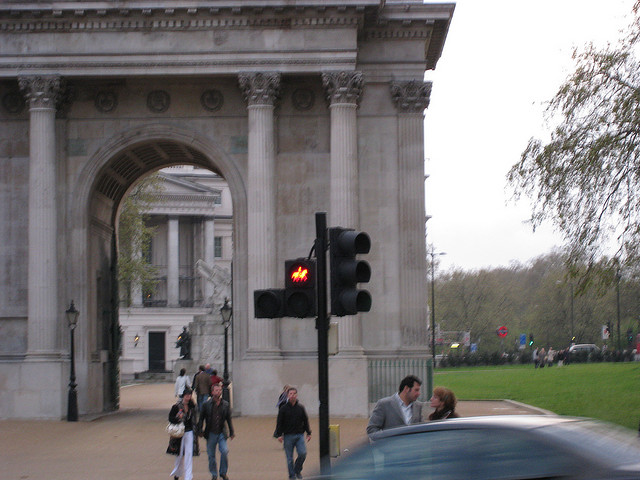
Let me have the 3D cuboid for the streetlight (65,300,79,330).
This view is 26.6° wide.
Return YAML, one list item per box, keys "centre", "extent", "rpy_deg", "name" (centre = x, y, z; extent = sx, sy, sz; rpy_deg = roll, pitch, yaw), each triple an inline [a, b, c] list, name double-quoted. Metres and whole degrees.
- centre: [-9.702, 3.017, 53.107]
  extent: [0.486, 1.182, 0.788]
  rpy_deg: [-1, -9, -10]
  name: "streetlight"

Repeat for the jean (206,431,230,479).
- centre: [-3.215, 6.847, 42.504]
  extent: [0.616, 1.501, 0.713]
  rpy_deg: [-2, -9, -5]
  name: "jean"

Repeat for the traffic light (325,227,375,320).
- centre: [0.795, 0.874, 37.641]
  extent: [1.180, 2.512, 0.526]
  rpy_deg: [-2, -9, -1]
  name: "traffic light"

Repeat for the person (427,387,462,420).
- centre: [3.542, 4.676, 38.034]
  extent: [0.793, 0.802, 1.058]
  rpy_deg: [8, -6, 6]
  name: "person"
